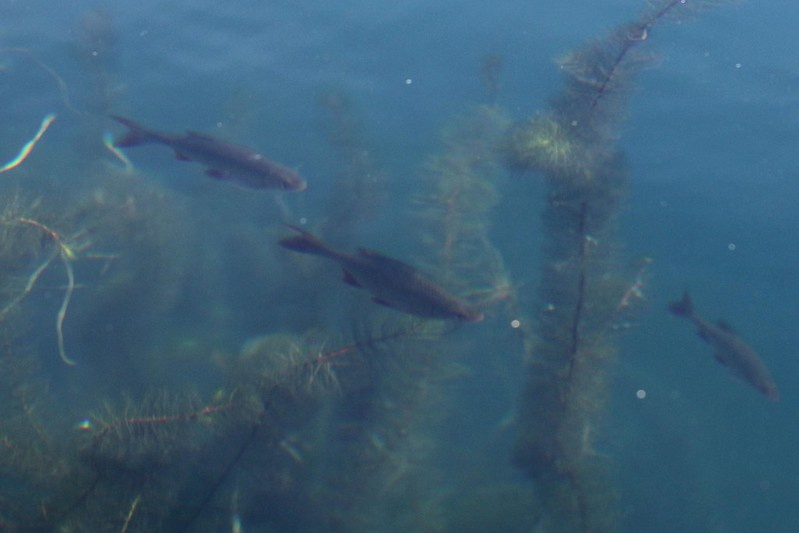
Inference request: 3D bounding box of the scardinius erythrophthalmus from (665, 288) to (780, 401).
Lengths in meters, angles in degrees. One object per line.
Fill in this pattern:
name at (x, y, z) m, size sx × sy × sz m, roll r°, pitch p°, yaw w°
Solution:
scardinius erythrophthalmus at (2.819, 0.695, 8.532) m, size 1.353 × 0.445 × 0.497 m, roll 44°, pitch 83°, yaw 5°
